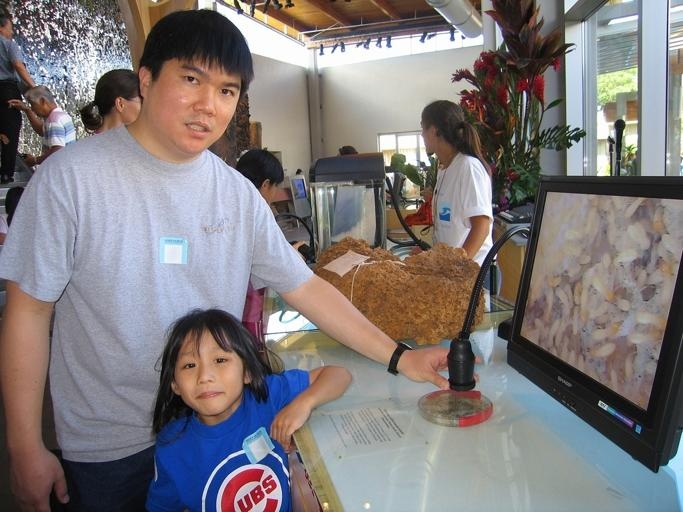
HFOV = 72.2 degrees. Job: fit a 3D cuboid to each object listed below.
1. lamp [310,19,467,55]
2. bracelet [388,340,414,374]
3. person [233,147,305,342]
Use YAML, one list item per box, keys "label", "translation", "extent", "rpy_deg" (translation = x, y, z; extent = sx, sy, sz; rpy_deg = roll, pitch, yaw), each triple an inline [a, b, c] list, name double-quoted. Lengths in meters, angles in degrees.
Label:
- label: "lamp"
  translation: [1.408, -5.974, 12.417]
  extent: [4.693, 0.643, 0.593]
  rpy_deg: [9, -11, 20]
- label: "bracelet"
  translation: [0.139, 0.242, 1.113]
  extent: [0.036, 0.053, 0.055]
  rpy_deg: [32, 17, 14]
- label: "person"
  translation: [-0.422, -0.048, 2.666]
  extent: [0.298, 1.074, 0.285]
  rpy_deg: [9, 26, -1]
